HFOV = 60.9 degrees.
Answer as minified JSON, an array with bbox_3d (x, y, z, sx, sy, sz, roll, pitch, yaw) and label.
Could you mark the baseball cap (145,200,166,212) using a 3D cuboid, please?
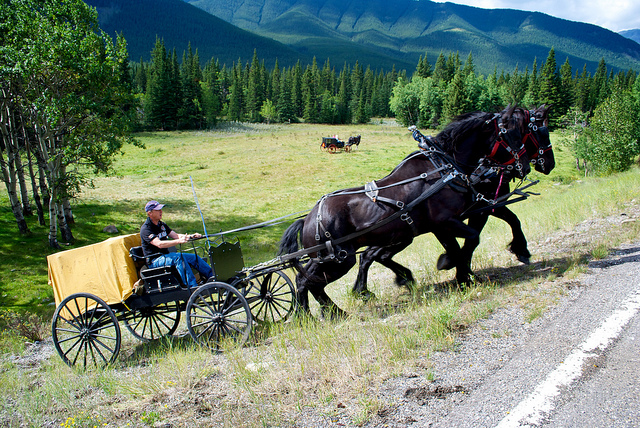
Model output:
[{"bbox_3d":[-4.968,-0.244,16.313,0.522,0.212,0.333,-7,9,-20],"label":"baseball cap"}]
